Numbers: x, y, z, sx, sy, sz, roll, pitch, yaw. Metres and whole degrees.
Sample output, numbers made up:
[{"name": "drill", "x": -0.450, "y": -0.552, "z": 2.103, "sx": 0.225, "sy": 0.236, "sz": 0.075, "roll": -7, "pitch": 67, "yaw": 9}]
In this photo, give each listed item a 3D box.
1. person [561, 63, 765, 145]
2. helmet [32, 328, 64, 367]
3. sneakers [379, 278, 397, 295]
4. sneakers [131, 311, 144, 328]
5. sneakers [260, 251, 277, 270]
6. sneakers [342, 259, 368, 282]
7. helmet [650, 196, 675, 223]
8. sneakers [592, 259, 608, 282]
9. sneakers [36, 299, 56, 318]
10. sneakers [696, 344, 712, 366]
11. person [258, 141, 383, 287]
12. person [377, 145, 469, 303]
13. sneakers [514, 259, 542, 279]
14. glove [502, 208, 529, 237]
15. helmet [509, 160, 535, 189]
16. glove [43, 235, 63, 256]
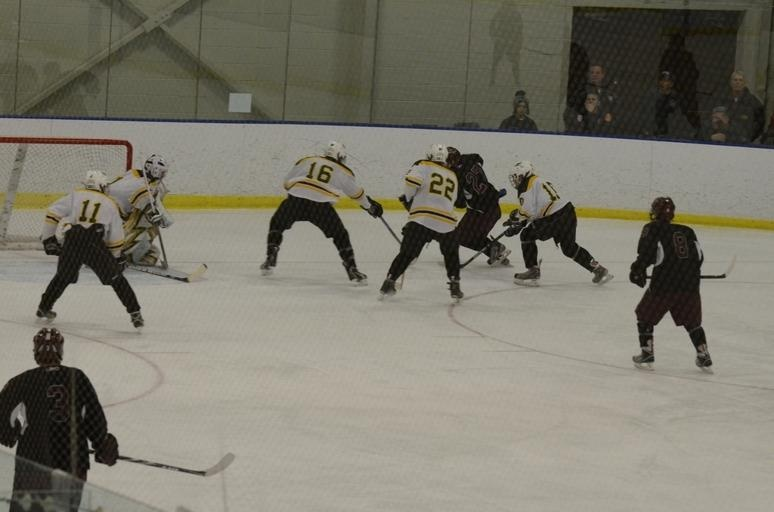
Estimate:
[{"name": "person", "x": 3.072, "y": -1.647, "z": 13.255, "sx": 2.166, "sy": 0.802, "sz": 0.230, "roll": 6, "pitch": 7, "yaw": 8}, {"name": "helmet", "x": -2.119, "y": 0.575, "z": 7.657, "sx": 0.194, "sy": 0.230, "sz": 0.236, "roll": 3, "pitch": 3, "yaw": -7}, {"name": "sneakers", "x": 0.017, "y": 0.281, "z": 10.862, "sx": 0.132, "sy": 0.130, "sz": 0.145, "roll": 2, "pitch": -1, "yaw": -42}, {"name": "sneakers", "x": -2.045, "y": 0.524, "z": 9.921, "sx": 0.149, "sy": 0.137, "sz": 0.091, "roll": 4, "pitch": 8, "yaw": 36}, {"name": "sneakers", "x": -1.164, "y": 0.056, "z": 11.450, "sx": 0.179, "sy": 0.168, "sz": 0.119, "roll": -8, "pitch": -26, "yaw": 36}, {"name": "sneakers", "x": -0.292, "y": 0.129, "z": 11.418, "sx": 0.239, "sy": 0.232, "sz": 0.286, "roll": 5, "pitch": 7, "yaw": -1}, {"name": "helmet", "x": 2.187, "y": -0.360, "z": 9.660, "sx": 0.206, "sy": 0.212, "sz": 0.224, "roll": 13, "pitch": 20, "yaw": 33}, {"name": "sneakers", "x": 2.052, "y": 0.165, "z": 11.493, "sx": 0.169, "sy": 0.206, "sz": 0.116, "roll": 6, "pitch": 7, "yaw": 8}, {"name": "sneakers", "x": -2.813, "y": 0.436, "z": 10.003, "sx": 0.128, "sy": 0.134, "sz": 0.076, "roll": -10, "pitch": 53, "yaw": -34}, {"name": "sneakers", "x": 2.492, "y": 0.779, "z": 9.541, "sx": 0.090, "sy": 0.147, "sz": 0.217, "roll": -2, "pitch": 14, "yaw": 4}, {"name": "person", "x": -0.685, "y": -0.374, "z": 12.185, "sx": 1.463, "sy": 1.475, "sz": 1.007, "roll": 8, "pitch": 7, "yaw": 18}, {"name": "person", "x": 0.383, "y": -0.295, "z": 10.900, "sx": 0.761, "sy": 1.383, "sz": 0.486, "roll": 5, "pitch": 7, "yaw": -1}, {"name": "sneakers", "x": 1.321, "y": 0.150, "z": 11.611, "sx": 0.312, "sy": 0.202, "sz": 0.117, "roll": 2, "pitch": 2, "yaw": 15}, {"name": "glove", "x": 1.235, "y": -0.326, "z": 11.597, "sx": 0.272, "sy": 0.235, "sz": 0.221, "roll": -4, "pitch": 41, "yaw": 2}, {"name": "helmet", "x": 1.273, "y": -0.776, "z": 11.757, "sx": 0.299, "sy": 0.271, "sz": 0.236, "roll": -2, "pitch": 8, "yaw": 21}, {"name": "glove", "x": -2.826, "y": -0.085, "z": 10.269, "sx": 0.215, "sy": 0.189, "sz": 0.145, "roll": -1, "pitch": 14, "yaw": -4}]
